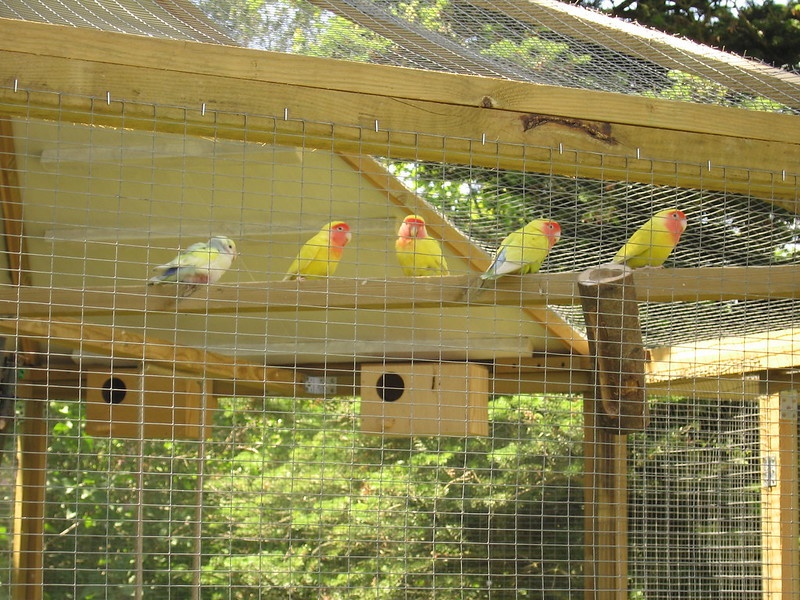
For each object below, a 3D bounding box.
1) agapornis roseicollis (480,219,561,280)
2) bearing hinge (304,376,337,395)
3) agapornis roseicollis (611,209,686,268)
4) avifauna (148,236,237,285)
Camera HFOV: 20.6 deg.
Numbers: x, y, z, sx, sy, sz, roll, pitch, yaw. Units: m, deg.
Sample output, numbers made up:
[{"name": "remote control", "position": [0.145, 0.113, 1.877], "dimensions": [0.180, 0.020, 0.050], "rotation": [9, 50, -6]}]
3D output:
[{"name": "agapornis roseicollis", "position": [0.539, -0.232, 10.108], "dimensions": [0.468, 0.237, 0.196], "rotation": [-11, 6, -29]}, {"name": "bearing hinge", "position": [-0.422, 0.437, 11.393], "dimensions": [0.241, 0.110, 0.104], "rotation": [2, -4, 4]}, {"name": "agapornis roseicollis", "position": [1.154, -0.283, 10.290], "dimensions": [0.442, 0.256, 0.242], "rotation": [-3, 0, 31]}, {"name": "avifauna", "position": [-0.970, -0.191, 10.262], "dimensions": [0.454, 0.194, 0.189], "rotation": [-1, -1, 8]}]
